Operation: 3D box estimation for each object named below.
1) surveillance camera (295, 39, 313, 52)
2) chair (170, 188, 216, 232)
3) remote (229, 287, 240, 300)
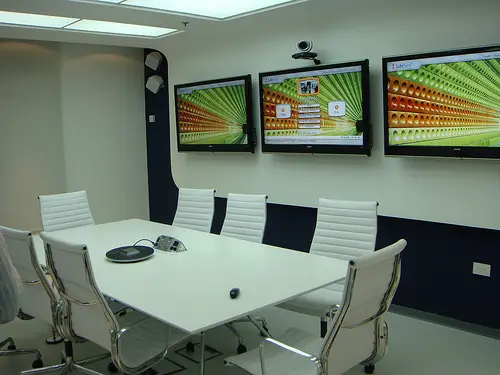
[{"bbox_3d":[0.670,-1.761,4.816,0.183,0.139,0.086,1,9,14],"label":"surveillance camera"},{"bbox_3d":[-0.659,0.240,5.004,0.478,0.739,0.536,3,5,18],"label":"chair"},{"bbox_3d":[-0.114,0.707,2.594,0.041,0.032,0.077,3,9,18],"label":"remote"}]
